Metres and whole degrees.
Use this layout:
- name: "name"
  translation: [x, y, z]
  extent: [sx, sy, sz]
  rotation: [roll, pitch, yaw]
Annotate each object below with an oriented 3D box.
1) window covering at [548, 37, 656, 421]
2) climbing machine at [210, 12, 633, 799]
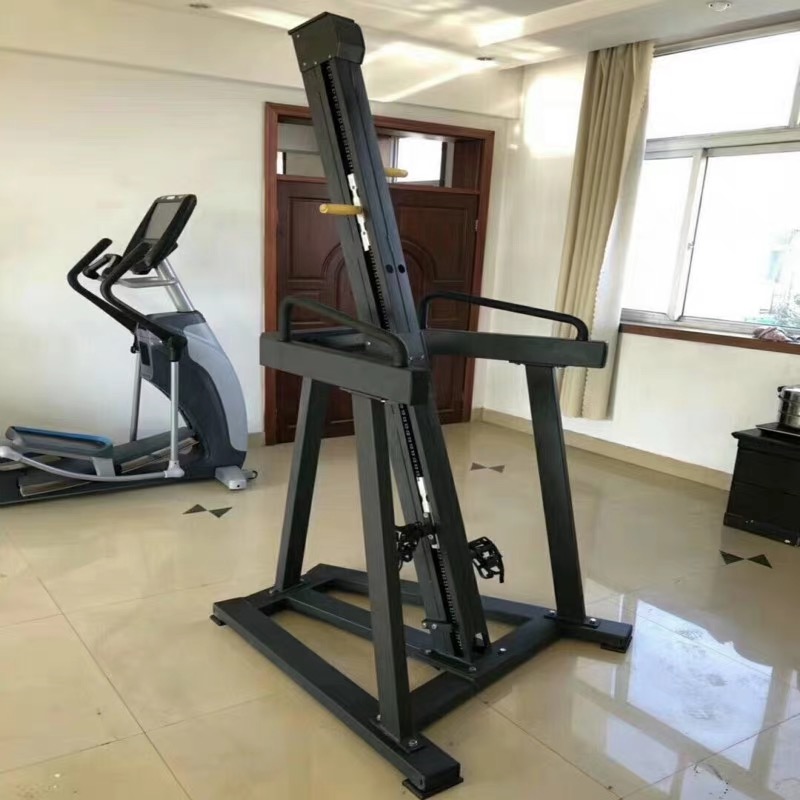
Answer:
- name: "window covering"
  translation: [1.285, -1.355, 4.564]
  extent: [0.178, 1.904, 0.436]
  rotation: [-5, 17, -37]
- name: "climbing machine"
  translation: [0.059, -0.074, 2.182]
  extent: [1.005, 1.984, 1.186]
  rotation: [-9, 18, -42]
